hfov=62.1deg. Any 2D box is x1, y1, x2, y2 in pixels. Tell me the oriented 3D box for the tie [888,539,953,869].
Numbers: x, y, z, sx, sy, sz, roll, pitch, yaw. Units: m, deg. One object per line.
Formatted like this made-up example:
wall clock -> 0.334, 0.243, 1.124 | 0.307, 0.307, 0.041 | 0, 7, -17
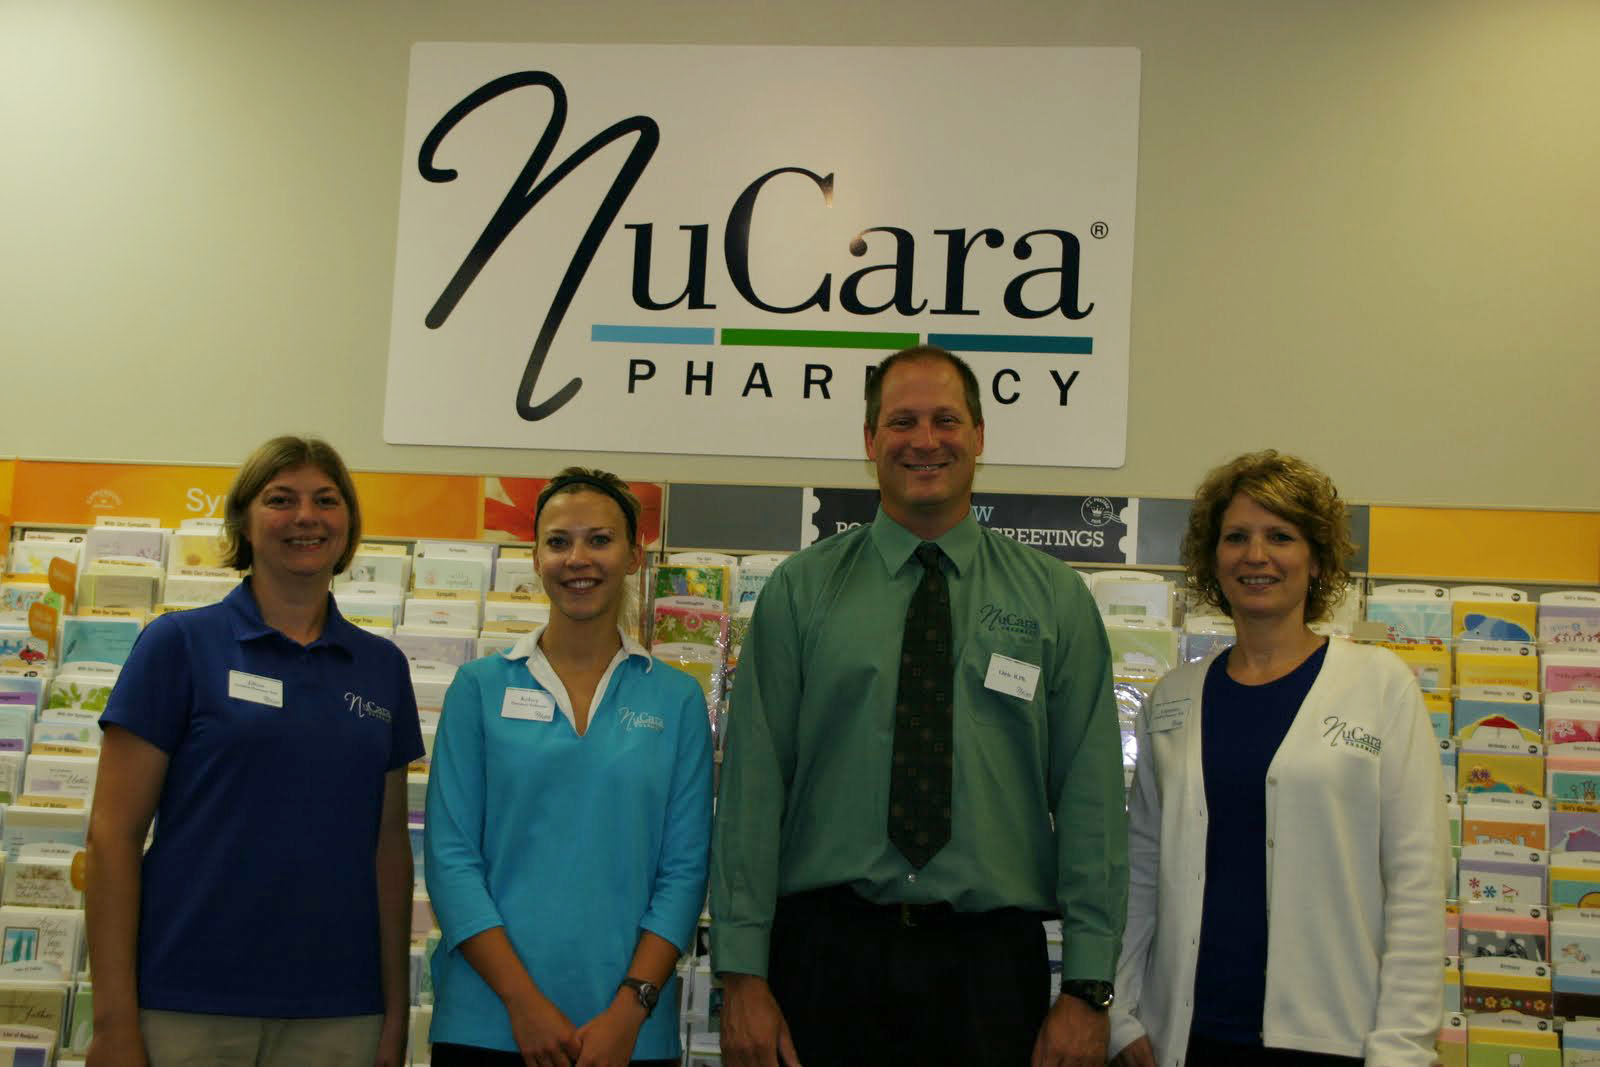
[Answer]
tie -> 0.339, 0.461, 3.698 | 0.173, 0.854, 0.264 | 1, 1, 6
